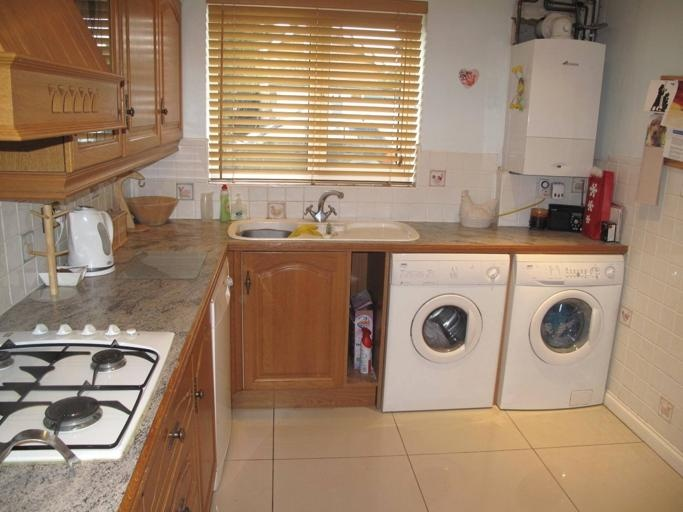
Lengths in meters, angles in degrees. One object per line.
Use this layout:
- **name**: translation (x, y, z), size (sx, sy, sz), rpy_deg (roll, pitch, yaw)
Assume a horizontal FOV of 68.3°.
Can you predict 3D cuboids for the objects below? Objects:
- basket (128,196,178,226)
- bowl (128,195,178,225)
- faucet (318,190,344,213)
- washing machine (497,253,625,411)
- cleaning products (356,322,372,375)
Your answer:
- **basket**: translation (-1.252, -0.305, 3.318), size (0.232, 0.107, 0.241), rpy_deg (0, 14, -3)
- **bowl**: translation (-1.242, -0.304, 3.311), size (0.230, 0.106, 0.240), rpy_deg (1, 14, 0)
- **faucet**: translation (-0.070, -0.382, 3.466), size (0.181, 0.167, 0.282), rpy_deg (-1, 15, -2)
- **washing machine**: translation (1.385, 0.491, 3.489), size (0.631, 1.112, 0.702), rpy_deg (2, 15, -3)
- **cleaning products**: translation (0.164, 0.599, 3.257), size (0.101, 0.323, 0.075), rpy_deg (-4, 15, -12)
